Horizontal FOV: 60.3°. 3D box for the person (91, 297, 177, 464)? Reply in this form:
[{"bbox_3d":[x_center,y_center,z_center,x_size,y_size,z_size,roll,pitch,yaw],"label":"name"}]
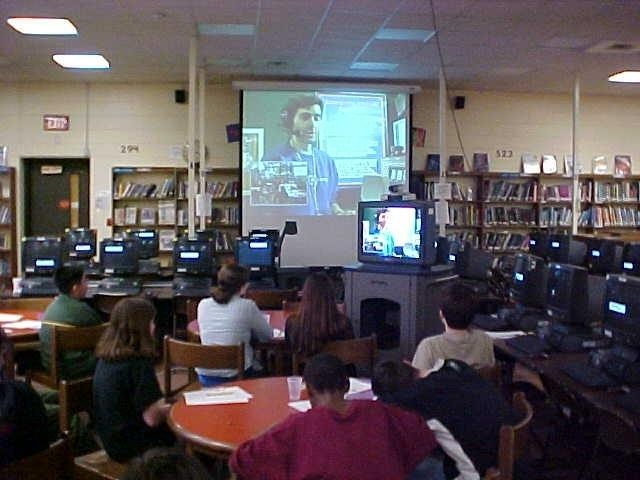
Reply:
[{"bbox_3d":[-1.062,0.786,3.134,0.436,0.889,0.254,-2,3,-19],"label":"person"}]

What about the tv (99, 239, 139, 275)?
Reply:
[{"bbox_3d":[-2.319,0.198,6.407,0.408,0.402,0.409,0,-3,-10],"label":"tv"}]

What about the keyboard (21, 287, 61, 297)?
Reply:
[{"bbox_3d":[-3.090,0.569,6.127,0.284,0.065,0.250,0,-2,-9],"label":"keyboard"}]

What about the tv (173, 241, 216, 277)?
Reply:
[{"bbox_3d":[-1.450,0.215,6.314,0.404,0.387,0.406,1,-3,-11],"label":"tv"}]

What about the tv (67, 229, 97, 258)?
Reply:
[{"bbox_3d":[-2.888,0.037,6.679,0.342,0.340,0.342,0,2,-5],"label":"tv"}]

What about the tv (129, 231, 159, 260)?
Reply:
[{"bbox_3d":[-2.186,0.053,7.017,0.397,0.378,0.324,0,0,-7],"label":"tv"}]

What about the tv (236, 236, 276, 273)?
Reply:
[{"bbox_3d":[-0.680,0.153,6.466,0.613,0.587,0.355,0,-3,-2],"label":"tv"}]

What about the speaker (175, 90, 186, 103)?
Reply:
[{"bbox_3d":[-2.126,-2.195,8.406,0.196,0.231,0.116,0,-5,-13],"label":"speaker"}]

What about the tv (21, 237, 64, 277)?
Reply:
[{"bbox_3d":[-3.194,0.172,6.479,0.504,0.504,0.525,0,-2,-14],"label":"tv"}]

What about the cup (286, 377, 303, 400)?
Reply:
[{"bbox_3d":[-0.144,0.844,3.157,0.107,0.115,0.106,-2,3,0],"label":"cup"}]

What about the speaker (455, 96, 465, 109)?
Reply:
[{"bbox_3d":[2.275,-2.234,8.947,0.170,0.205,0.070,-2,3,-11],"label":"speaker"}]

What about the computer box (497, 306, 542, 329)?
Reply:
[{"bbox_3d":[1.713,0.652,4.659,0.189,0.119,0.243,-2,3,-13],"label":"computer box"}]

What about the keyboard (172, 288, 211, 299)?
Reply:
[{"bbox_3d":[-1.396,0.583,6.013,0.295,0.088,0.204,0,-2,-1],"label":"keyboard"}]
